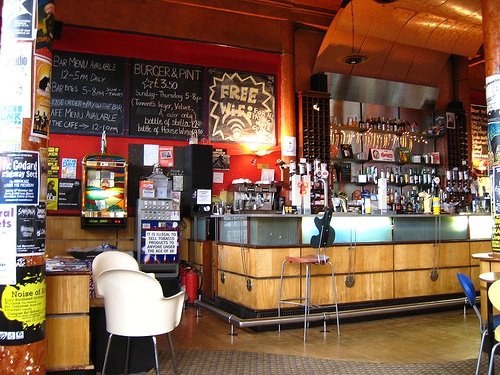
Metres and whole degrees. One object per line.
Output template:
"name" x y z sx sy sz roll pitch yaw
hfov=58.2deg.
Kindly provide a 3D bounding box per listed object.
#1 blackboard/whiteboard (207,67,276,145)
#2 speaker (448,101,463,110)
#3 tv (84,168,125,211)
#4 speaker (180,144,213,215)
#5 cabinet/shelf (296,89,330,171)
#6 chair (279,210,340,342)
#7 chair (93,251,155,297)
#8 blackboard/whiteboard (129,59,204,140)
"blackboard/whiteboard" -0.237 -1.619 9.039 1.669 1.596 0.160 -1 0 -20
"speaker" 4.852 -1.932 10.649 0.136 0.140 0.248 -6 2 -45
"tv" -2.428 0.035 7.405 0.679 0.762 0.101 3 -4 -19
"speaker" -0.949 -0.133 7.843 0.631 1.226 0.497 1 1 13
"cabinet/shelf" 1.291 -1.205 9.226 0.691 1.514 0.341 1 1 -1
"chair" 0.812 1.075 5.899 0.876 1.619 0.806 1 1 -2
"chair" -1.286 0.846 4.584 0.482 0.553 0.613 5 -27 -18
"blackboard/whiteboard" -1.636 -1.642 8.478 1.587 1.582 0.129 2 -6 -25
